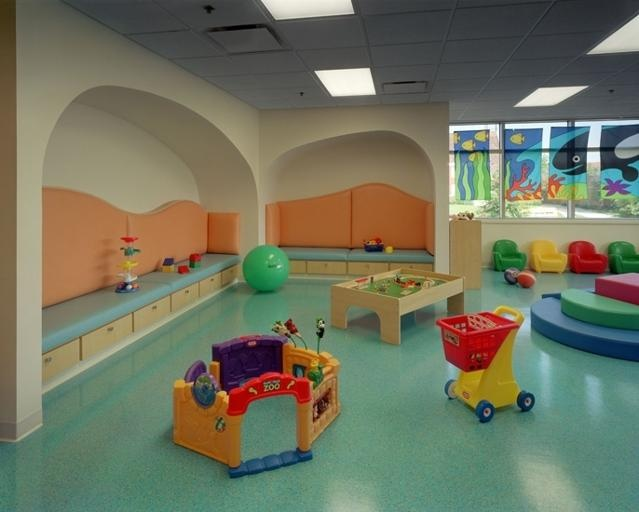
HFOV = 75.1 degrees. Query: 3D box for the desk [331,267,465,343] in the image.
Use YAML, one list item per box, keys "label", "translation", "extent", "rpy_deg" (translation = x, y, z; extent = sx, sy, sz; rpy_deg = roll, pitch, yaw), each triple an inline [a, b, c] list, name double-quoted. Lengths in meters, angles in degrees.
- label: "desk"
  translation: [0.997, 0.613, 5.426]
  extent: [1.571, 0.575, 1.093]
  rpy_deg: [-10, 14, -43]
